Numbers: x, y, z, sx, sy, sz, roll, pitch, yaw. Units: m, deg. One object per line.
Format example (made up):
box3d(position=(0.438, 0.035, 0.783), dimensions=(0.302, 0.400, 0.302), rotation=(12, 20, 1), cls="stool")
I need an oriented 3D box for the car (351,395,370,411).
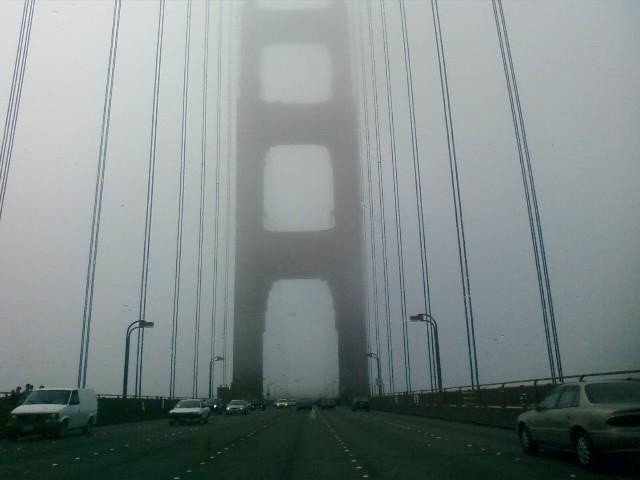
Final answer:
box3d(position=(3.517, 14.429, 51.603), dimensions=(1.945, 1.142, 1.275), rotation=(-12, -17, 31), cls="car")
